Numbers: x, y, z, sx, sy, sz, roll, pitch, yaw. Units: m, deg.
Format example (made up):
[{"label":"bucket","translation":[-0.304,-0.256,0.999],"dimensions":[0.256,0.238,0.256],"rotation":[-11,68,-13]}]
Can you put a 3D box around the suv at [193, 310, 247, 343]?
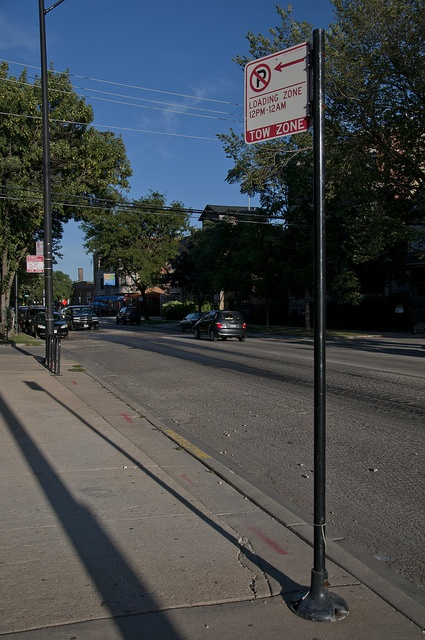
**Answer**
[{"label":"suv","translation":[0.377,0.283,28.033],"dimensions":[1.221,1.052,2.398],"rotation":[-1,6,-17]}]

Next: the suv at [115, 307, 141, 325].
[{"label":"suv","translation":[-7.843,-0.337,54.707],"dimensions":[1.326,1.621,2.554],"rotation":[-1,2,-41]}]

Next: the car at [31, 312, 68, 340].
[{"label":"car","translation":[-7.397,0.332,26.028],"dimensions":[1.318,1.194,2.884],"rotation":[0,-3,-22]}]

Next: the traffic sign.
[{"label":"traffic sign","translation":[0.360,-1.294,3.322],"dimensions":[0.100,0.576,0.619],"rotation":[0,1,-30]}]

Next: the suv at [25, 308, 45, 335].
[{"label":"suv","translation":[-11.032,0.086,35.241],"dimensions":[1.219,1.208,2.185],"rotation":[0,8,-11]}]

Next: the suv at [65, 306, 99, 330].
[{"label":"suv","translation":[-9.277,-0.110,40.803],"dimensions":[2.610,1.673,1.578],"rotation":[1,2,43]}]
